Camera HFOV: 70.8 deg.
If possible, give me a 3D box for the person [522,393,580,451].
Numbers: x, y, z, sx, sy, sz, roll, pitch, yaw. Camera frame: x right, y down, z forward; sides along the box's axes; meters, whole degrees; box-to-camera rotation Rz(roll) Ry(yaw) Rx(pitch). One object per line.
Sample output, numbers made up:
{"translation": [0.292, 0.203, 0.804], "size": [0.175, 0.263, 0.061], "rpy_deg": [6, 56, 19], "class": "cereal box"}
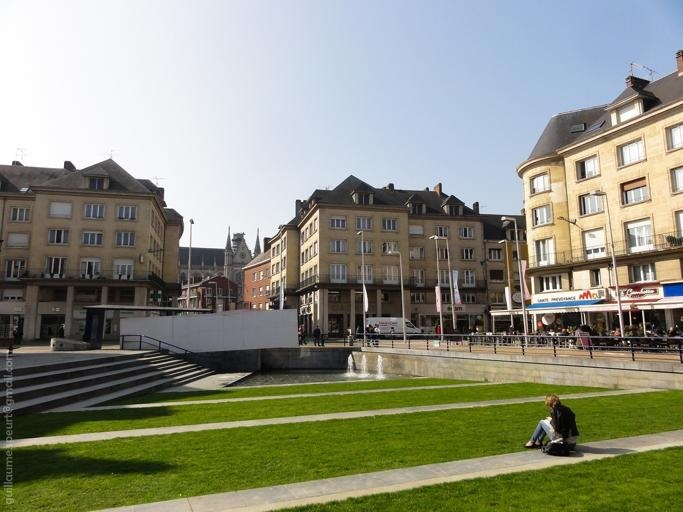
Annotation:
{"translation": [4.901, 3.922, 11.331], "size": [0.756, 1.158, 1.438], "rpy_deg": [16, -21, -27], "class": "person"}
